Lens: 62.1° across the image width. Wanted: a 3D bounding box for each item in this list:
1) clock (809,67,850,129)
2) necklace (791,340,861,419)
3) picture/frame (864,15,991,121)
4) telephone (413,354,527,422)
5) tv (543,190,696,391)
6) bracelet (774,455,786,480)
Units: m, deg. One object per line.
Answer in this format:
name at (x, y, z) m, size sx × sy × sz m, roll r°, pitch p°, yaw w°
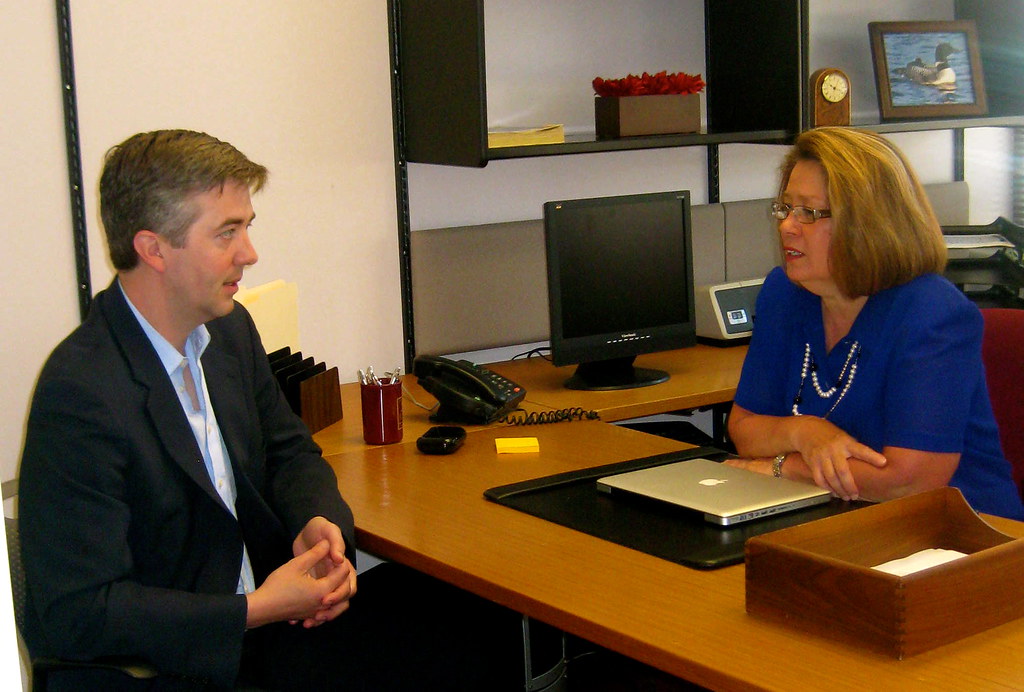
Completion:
clock at (1.217, -0.952, 3.225) m, size 0.229 × 0.212 × 0.079 m, roll -13°, pitch 12°, yaw -35°
necklace at (0.794, 0.079, 2.140) m, size 0.051 × 0.183 × 0.135 m, roll 10°, pitch -4°, yaw -36°
picture/frame at (1.762, -1.177, 3.575) m, size 0.556 × 0.432 × 0.186 m, roll -8°, pitch 10°, yaw -12°
telephone at (-0.147, 0.125, 2.515) m, size 0.343 × 0.142 × 0.246 m, roll 15°, pitch 16°, yaw 22°
tv at (0.360, -0.189, 2.838) m, size 0.641 × 0.696 × 0.266 m, roll -6°, pitch 4°, yaw -27°
bracelet at (0.629, 0.281, 2.016) m, size 0.015 × 0.046 × 0.034 m, roll 4°, pitch -1°, yaw 3°
